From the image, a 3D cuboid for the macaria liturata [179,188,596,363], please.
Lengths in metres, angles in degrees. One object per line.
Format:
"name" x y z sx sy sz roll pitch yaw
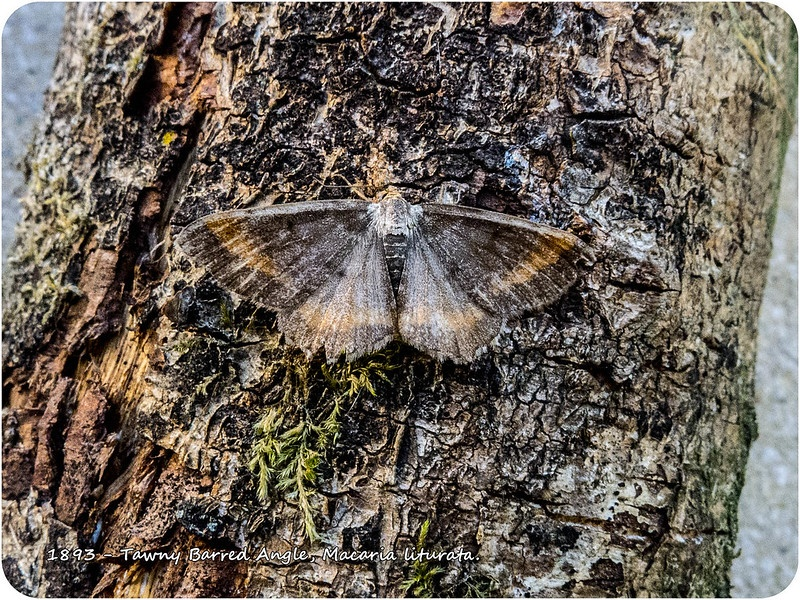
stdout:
"macaria liturata" -0.077 -0.137 7.187 1.881 0.926 0.217 3 0 1
